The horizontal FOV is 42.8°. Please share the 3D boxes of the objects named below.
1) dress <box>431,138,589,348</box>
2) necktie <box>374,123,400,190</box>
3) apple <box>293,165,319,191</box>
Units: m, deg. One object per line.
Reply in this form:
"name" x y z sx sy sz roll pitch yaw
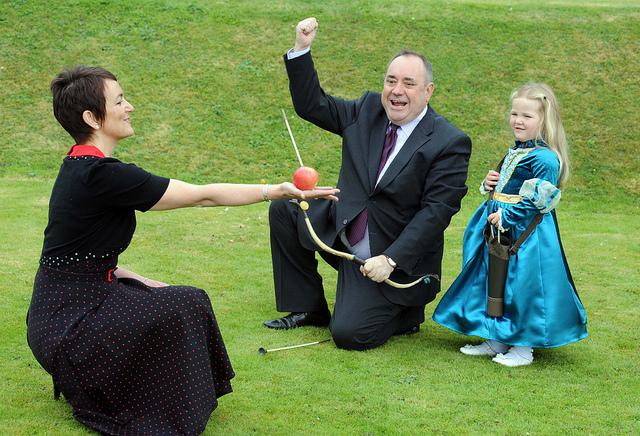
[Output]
"dress" 2.032 0.296 8.342 1.475 1.973 0.960 8 20 17
"necktie" 0.703 -0.647 8.433 0.249 0.638 0.204 -17 46 -10
"apple" -0.123 -0.397 7.777 0.250 0.220 0.238 6 10 12
